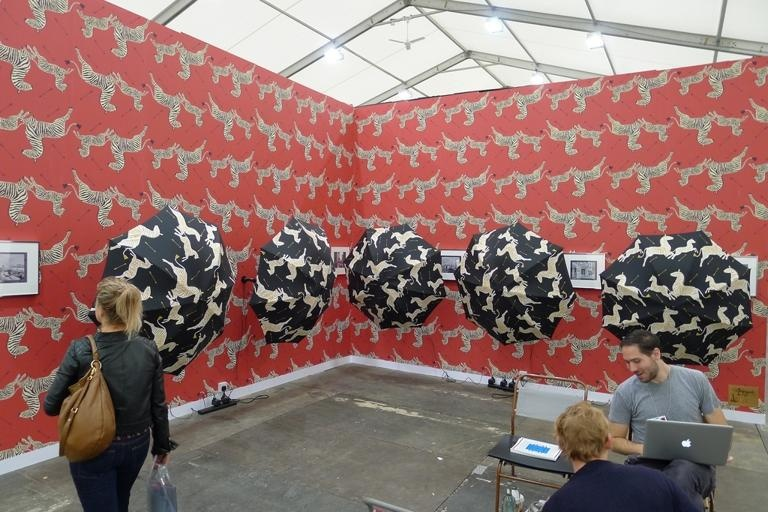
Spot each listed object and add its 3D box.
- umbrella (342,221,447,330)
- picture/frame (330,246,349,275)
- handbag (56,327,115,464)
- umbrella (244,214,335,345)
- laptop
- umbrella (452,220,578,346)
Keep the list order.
[{"bbox_3d":[0.242,0.343,8.473,1.501,1.517,0.975,19,25,10],"label":"umbrella"},{"bbox_3d":[-0.750,0.090,9.018,0.061,0.573,0.496,-2,-2,37],"label":"picture/frame"},{"bbox_3d":[-2.331,1.140,4.230,0.390,0.920,0.318,-6,11,-33],"label":"handbag"},{"bbox_3d":[-1.547,0.269,7.725,0.971,1.540,1.547,13,-9,25],"label":"umbrella"},{"bbox_3d":[2.587,1.601,4.648,0.621,0.382,0.437,0,5,14],"label":"laptop"},{"bbox_3d":[1.777,0.452,7.368,1.513,1.634,0.643,3,10,17],"label":"umbrella"}]
